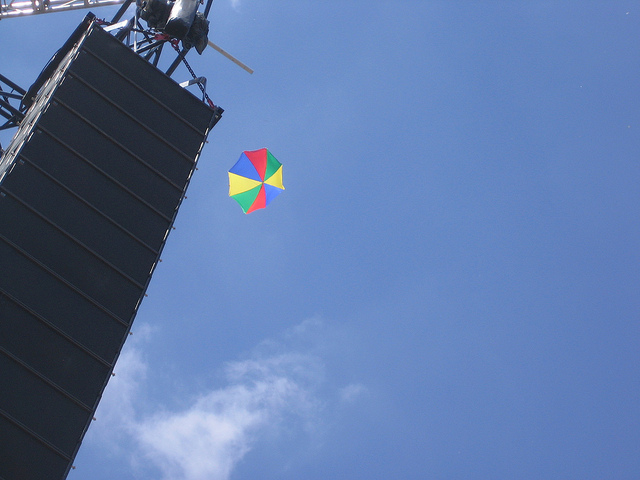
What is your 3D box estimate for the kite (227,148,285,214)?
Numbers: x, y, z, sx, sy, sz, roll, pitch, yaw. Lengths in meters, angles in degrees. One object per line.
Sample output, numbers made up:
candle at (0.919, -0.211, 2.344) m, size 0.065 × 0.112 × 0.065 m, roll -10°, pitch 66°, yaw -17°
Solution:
kite at (-3.017, -2.785, 49.810) m, size 2.251 × 2.479 × 1.488 m, roll 23°, pitch -33°, yaw -6°
